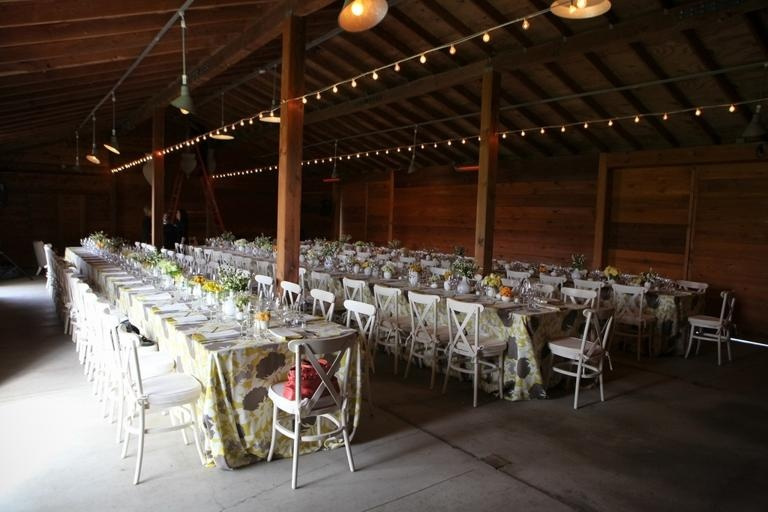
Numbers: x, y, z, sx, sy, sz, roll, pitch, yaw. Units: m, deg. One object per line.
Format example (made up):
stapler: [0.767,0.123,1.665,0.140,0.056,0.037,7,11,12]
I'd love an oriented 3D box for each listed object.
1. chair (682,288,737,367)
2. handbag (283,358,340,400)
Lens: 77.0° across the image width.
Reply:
chair: [4.966,1.071,7.379,0.590,0.918,0.599,0,-3,43]
handbag: [-0.635,1.099,4.276,0.485,0.266,0.493,1,8,33]
